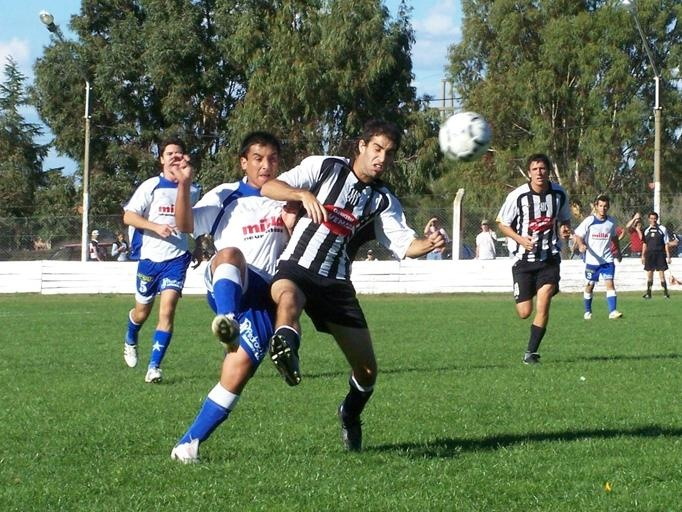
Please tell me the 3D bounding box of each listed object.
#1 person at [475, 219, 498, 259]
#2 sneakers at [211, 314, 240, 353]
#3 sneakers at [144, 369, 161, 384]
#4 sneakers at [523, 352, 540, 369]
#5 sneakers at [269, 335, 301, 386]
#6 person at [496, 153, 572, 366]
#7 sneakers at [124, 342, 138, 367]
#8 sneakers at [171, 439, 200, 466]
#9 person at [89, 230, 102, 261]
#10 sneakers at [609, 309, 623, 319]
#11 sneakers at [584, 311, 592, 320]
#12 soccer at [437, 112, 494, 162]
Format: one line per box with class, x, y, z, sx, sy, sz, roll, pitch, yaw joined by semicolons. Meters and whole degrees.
person;4.137;-0.441;24.921;0.540;1.095;1.800;2;7;8
sneakers;-1.114;0.701;8.194;0.196;0.292;0.558;1;10;-25
sneakers;-2.305;1.455;10.725;0.212;0.161;0.194;0;7;-6
sneakers;2.557;1.382;11.755;0.298;0.192;0.101;-2;4;-23
sneakers;-0.504;0.941;7.906;0.179;0.557;0.229;-16;6;5
person;2.685;0.019;12.153;0.971;2.838;1.058;1;6;3
sneakers;-2.724;1.299;11.336;0.118;0.361;0.150;-5;-6;-22
sneakers;-1.454;1.850;8.260;0.254;0.254;0.167;3;2;5
person;-7.549;-0.306;26.878;0.378;0.941;1.432;-1;7;-15
sneakers;5.213;1.134;16.711;0.117;0.153;0.285;-7;-3;-37
sneakers;4.773;1.159;16.895;0.122;0.169;0.165;-2;6;3
soccer;1.392;-1.343;9.851;0.568;0.549;0.349;1;7;5
